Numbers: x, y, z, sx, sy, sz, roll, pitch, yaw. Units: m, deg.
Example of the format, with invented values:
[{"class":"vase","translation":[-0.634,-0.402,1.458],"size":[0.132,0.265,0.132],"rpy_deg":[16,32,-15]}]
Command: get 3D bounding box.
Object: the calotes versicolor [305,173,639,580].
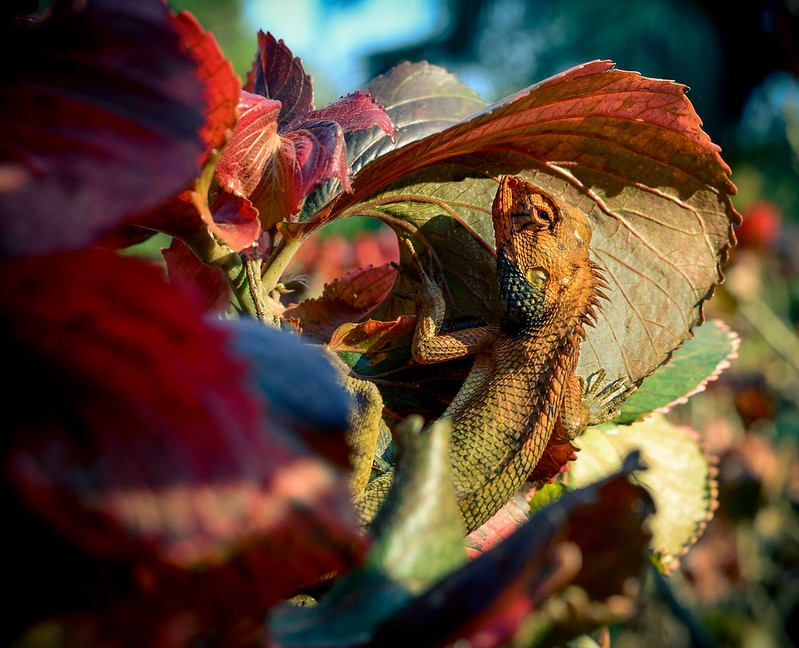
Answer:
[{"class":"calotes versicolor","translation":[0.127,0.062,1.443],"size":[0.389,0.181,0.538],"rpy_deg":[44,50,-41]}]
